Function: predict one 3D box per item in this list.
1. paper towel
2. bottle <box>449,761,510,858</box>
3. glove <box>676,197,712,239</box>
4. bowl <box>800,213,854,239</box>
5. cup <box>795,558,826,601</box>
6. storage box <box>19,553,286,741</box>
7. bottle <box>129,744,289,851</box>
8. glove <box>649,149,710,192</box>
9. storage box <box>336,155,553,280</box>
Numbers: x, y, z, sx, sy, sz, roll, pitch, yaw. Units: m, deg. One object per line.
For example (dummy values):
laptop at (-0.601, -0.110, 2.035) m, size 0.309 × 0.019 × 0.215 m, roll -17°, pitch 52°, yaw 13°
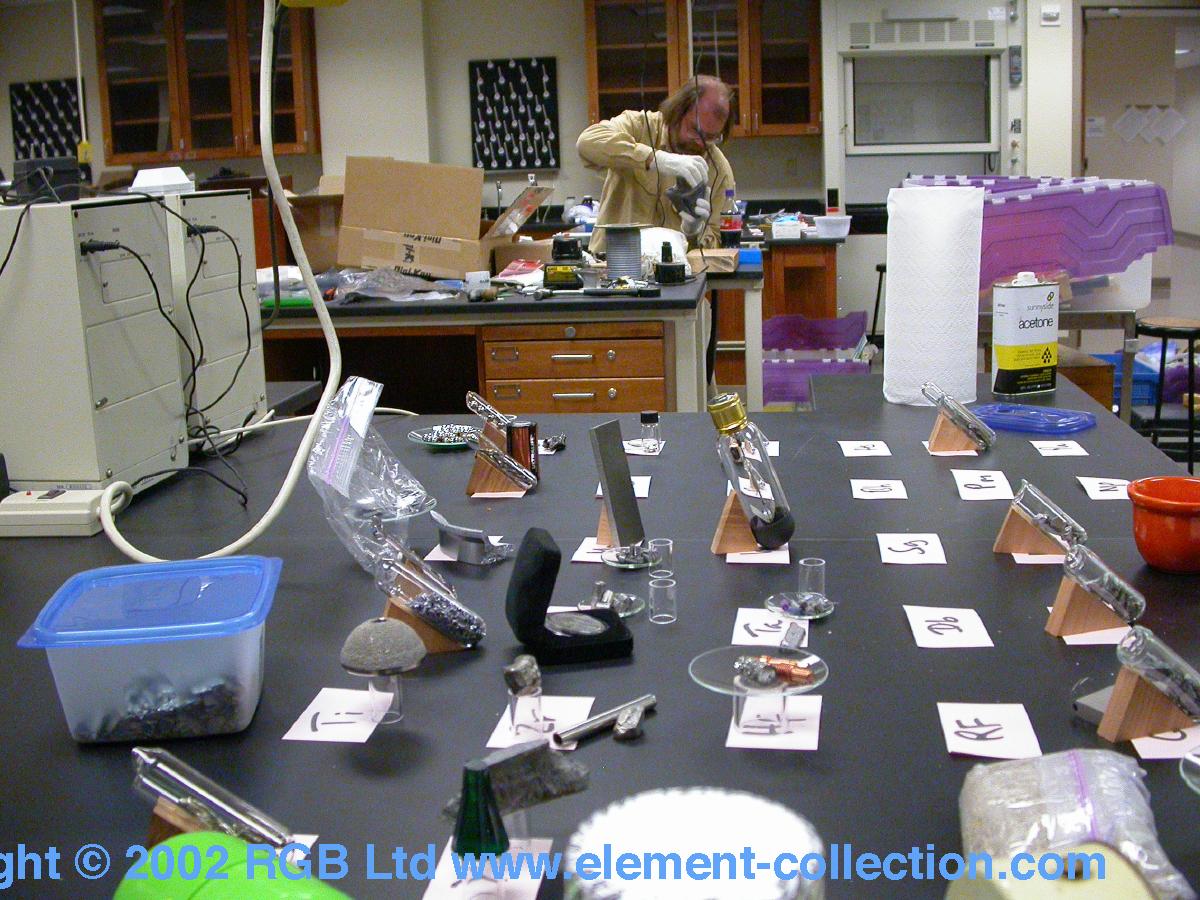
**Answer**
paper towel at (0.670, -0.303, 1.939) m, size 0.184 × 0.439 × 0.109 m, roll 3°, pitch 16°, yaw 21°
bottle at (-0.098, 0.278, 0.771) m, size 0.044 × 0.080 × 0.071 m, roll -5°, pitch 17°, yaw -8°
glove at (0.408, -1.006, 4.212) m, size 0.130 × 0.182 × 0.186 m, roll -1°, pitch 6°, yaw 3°
bowl at (1.378, -1.373, 5.996) m, size 0.279 × 0.142 × 0.280 m, roll -3°, pitch 17°, yaw 1°
cup at (0.264, 0.151, 1.193) m, size 0.038 × 0.073 × 0.042 m, roll 2°, pitch 12°, yaw 19°
storage box at (-0.456, 0.179, 0.997) m, size 0.189 × 0.116 × 0.187 m, roll 0°, pitch 14°, yaw -8°
bottle at (-0.333, 0.297, 0.817) m, size 0.102 × 0.040 × 0.029 m, roll 30°, pitch 10°, yaw 0°
glove at (0.330, -1.209, 4.210) m, size 0.176 × 0.116 × 0.272 m, roll -23°, pitch 42°, yaw -27°
storage box at (-0.588, -0.820, 3.623) m, size 0.685 × 0.443 × 0.432 m, roll 8°, pitch 17°, yaw 3°
